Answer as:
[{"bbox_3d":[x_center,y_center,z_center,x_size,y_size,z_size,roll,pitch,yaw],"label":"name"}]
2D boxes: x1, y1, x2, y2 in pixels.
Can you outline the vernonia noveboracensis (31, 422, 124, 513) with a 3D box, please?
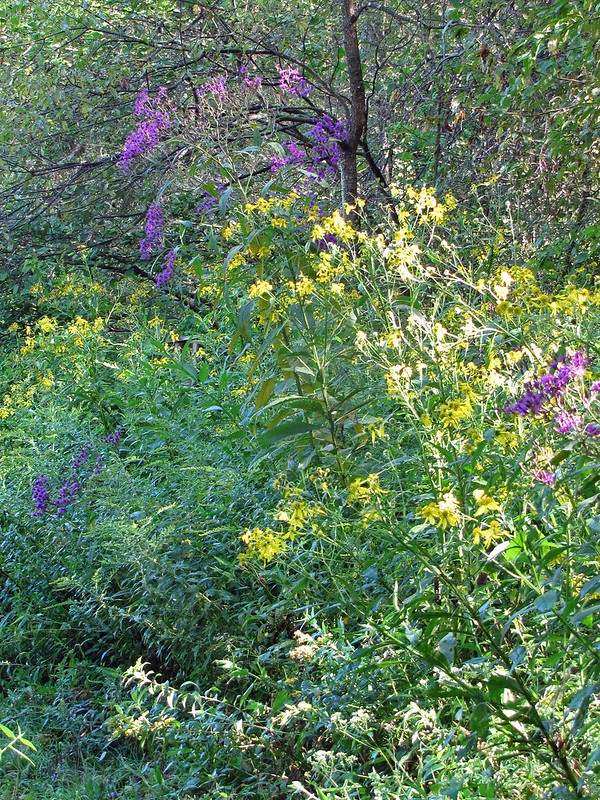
[{"bbox_3d":[-0.968,0.329,3.918,0.227,0.395,0.230,7,-29,10],"label":"vernonia noveboracensis"}]
